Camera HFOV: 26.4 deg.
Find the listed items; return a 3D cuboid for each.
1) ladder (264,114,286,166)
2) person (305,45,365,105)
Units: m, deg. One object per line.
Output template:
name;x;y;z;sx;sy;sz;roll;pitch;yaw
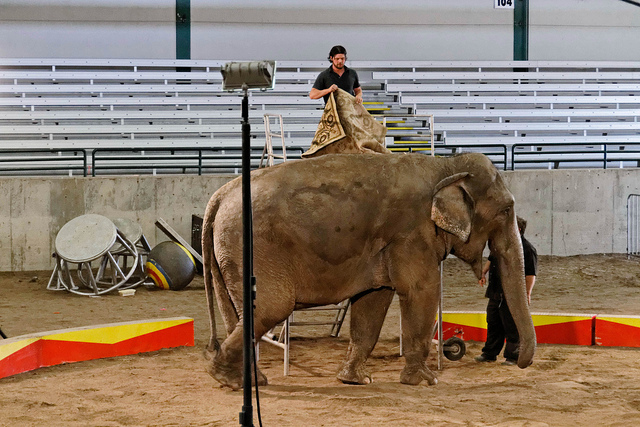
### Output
ladder;-1.137;-1.655;33.578;0.633;1.426;0.576;-4;1;-32
person;0.359;-3.377;33.841;1.227;1.428;0.797;1;1;-2
